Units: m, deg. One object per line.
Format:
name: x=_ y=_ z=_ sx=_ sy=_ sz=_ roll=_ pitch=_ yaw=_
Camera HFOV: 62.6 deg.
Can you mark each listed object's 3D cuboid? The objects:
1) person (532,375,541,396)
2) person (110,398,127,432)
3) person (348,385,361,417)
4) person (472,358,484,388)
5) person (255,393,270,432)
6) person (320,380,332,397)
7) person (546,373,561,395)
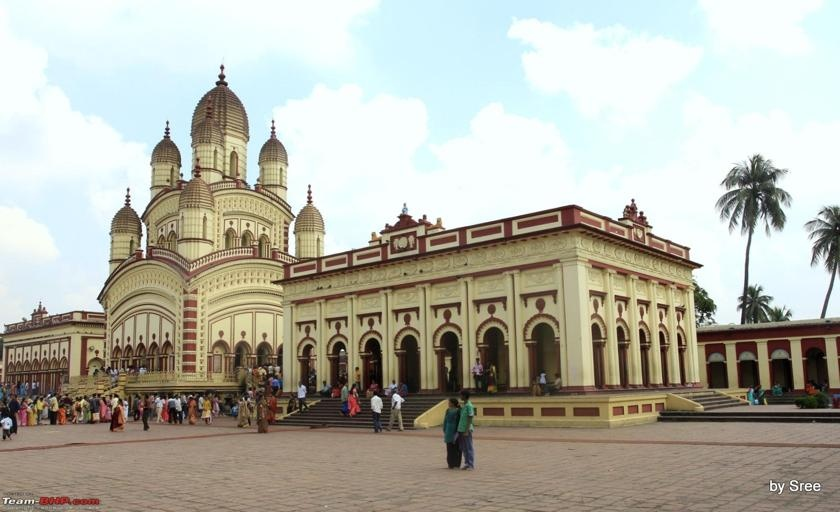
person: x=5.845 y=6.505 z=34.155 sx=0.595 sy=0.925 sz=0.807 roll=-4 pitch=-14 yaw=8
person: x=-15.254 y=8.039 z=34.766 sx=0.526 sy=1.672 sz=0.903 roll=9 pitch=-17 yaw=-35
person: x=-3.566 y=7.878 z=36.804 sx=0.608 sy=1.479 sz=0.668 roll=0 pitch=-14 yaw=-4
person: x=3.077 y=6.236 z=36.222 sx=0.592 sy=1.633 sz=0.787 roll=-3 pitch=-14 yaw=5
person: x=-7.847 y=7.967 z=34.347 sx=0.488 sy=1.694 sz=0.720 roll=1 pitch=-15 yaw=-12
person: x=-5.658 y=8.077 z=41.261 sx=0.727 sy=1.168 sz=0.672 roll=8 pitch=-41 yaw=-12
person: x=6.640 y=6.384 z=34.128 sx=0.539 sy=1.063 sz=0.709 roll=-13 pitch=-18 yaw=37
